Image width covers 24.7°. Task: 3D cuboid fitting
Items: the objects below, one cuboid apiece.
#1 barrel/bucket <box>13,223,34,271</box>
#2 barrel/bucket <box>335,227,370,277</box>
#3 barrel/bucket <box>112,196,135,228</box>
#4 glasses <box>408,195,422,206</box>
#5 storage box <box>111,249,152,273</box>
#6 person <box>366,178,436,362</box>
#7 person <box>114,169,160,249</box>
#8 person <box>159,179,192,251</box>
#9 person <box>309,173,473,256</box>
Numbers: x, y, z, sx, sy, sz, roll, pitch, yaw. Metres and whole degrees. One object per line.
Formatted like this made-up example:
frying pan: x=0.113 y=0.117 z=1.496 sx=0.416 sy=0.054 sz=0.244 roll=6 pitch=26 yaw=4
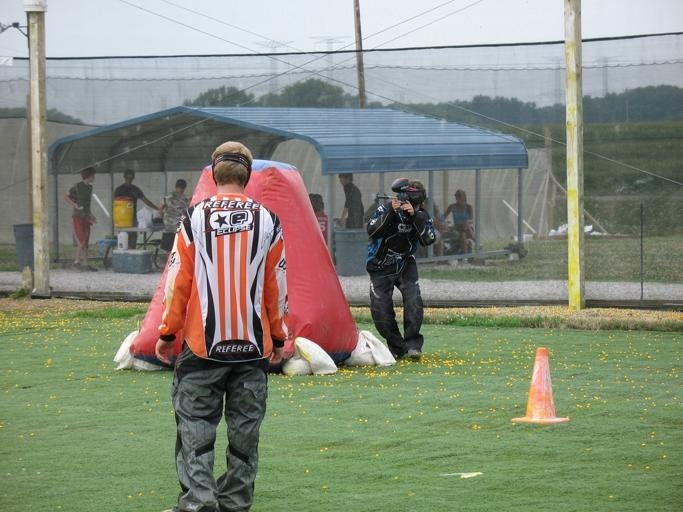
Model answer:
barrel/bucket: x=-5.714 y=-0.157 z=28.032 sx=0.328 sy=0.844 sz=0.547 roll=-2 pitch=4 yaw=-12
barrel/bucket: x=0.170 y=-0.048 z=28.306 sx=0.723 sy=1.196 sz=0.729 roll=1 pitch=-7 yaw=0
barrel/bucket: x=-4.384 y=-0.897 z=31.317 sx=0.533 sy=0.729 sz=0.514 roll=-1 pitch=-4 yaw=0
glasses: x=1.052 y=-0.771 z=21.787 sx=0.133 sy=0.138 sz=0.118 roll=-9 pitch=21 yaw=-1
storage box: x=-3.991 y=0.099 z=29.626 sx=0.750 sy=0.433 sz=0.501 roll=-2 pitch=4 yaw=-8
person: x=0.765 y=0.186 z=21.900 sx=0.822 sy=2.546 sz=0.954 roll=0 pitch=0 yaw=-21
person: x=-4.204 y=-1.254 z=31.502 sx=0.654 sy=1.814 sz=0.636 roll=4 pitch=9 yaw=10
person: x=-2.909 y=-0.711 z=27.129 sx=0.546 sy=1.526 sz=0.518 roll=3 pitch=9 yaw=-3
person: x=0.757 y=-0.478 z=21.986 sx=0.892 sy=2.032 sz=0.645 roll=0 pitch=0 yaw=-15
